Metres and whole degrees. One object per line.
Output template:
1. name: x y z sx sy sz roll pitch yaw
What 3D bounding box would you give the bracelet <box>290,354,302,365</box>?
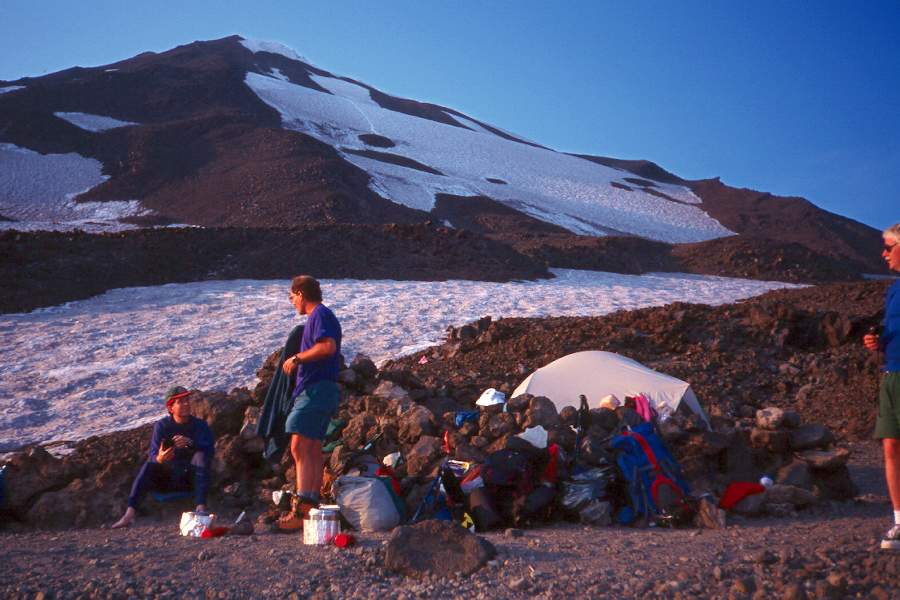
1. bracelet: -1.578 0.615 6.978 0.103 0.099 0.094 25 0 35

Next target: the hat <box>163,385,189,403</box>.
1. hat: -3.089 1.070 7.642 0.226 0.130 0.168 -23 2 13

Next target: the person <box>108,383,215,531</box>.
1. person: -3.079 1.715 7.599 1.020 1.473 0.429 -5 -12 11

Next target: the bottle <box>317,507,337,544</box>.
1. bottle: -1.184 2.212 6.717 0.276 0.382 0.270 0 -12 0

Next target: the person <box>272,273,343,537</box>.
1. person: -1.463 1.038 7.096 0.617 2.626 0.695 0 -12 -15
